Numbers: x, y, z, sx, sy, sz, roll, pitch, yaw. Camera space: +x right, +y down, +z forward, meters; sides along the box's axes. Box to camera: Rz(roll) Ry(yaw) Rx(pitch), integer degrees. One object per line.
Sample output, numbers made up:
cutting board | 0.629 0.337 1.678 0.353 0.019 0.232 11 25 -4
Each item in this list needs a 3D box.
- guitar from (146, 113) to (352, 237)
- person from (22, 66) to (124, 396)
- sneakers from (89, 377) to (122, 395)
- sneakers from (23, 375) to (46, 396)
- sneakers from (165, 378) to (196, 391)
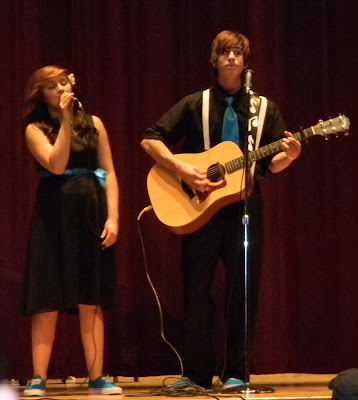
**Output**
guitar | 0.342 -0.130 2.804 1.150 0.614 0.185 -26 -12 -1
person | -0.545 0.117 2.657 0.513 1.703 0.366 2 -7 -23
sneakers | -0.371 0.921 2.579 0.155 0.096 0.078 -5 -14 21
sneakers | -0.694 0.891 2.462 0.101 0.092 0.088 3 -9 -23
sneakers | 0.007 0.900 2.525 0.143 0.053 0.070 -2 -9 5
